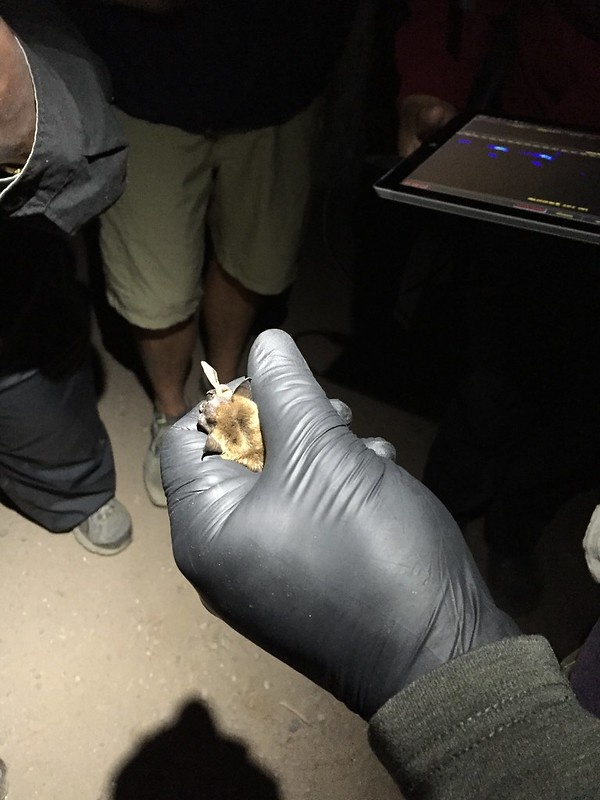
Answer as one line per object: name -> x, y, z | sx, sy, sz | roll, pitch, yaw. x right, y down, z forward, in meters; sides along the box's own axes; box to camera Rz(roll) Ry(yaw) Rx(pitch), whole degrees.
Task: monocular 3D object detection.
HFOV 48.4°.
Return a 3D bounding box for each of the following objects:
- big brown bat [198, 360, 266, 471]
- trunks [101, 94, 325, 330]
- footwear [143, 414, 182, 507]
big brown bat -> -0.177, 0.048, 1.977 | 0.222, 0.120, 0.299 | -39, 62, 22
trunks -> -0.322, -0.700, 2.412 | 0.654, 0.876, 0.319 | -17, 63, -17
footwear -> -0.531, 0.244, 2.567 | 0.133, 0.269, 0.389 | 4, 68, -17
